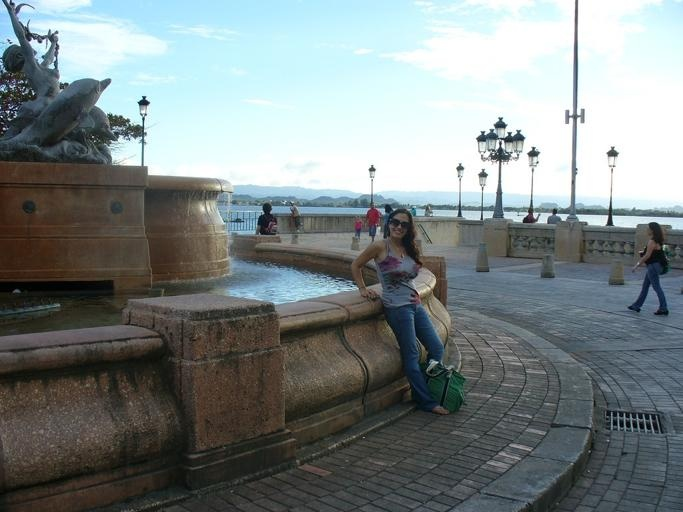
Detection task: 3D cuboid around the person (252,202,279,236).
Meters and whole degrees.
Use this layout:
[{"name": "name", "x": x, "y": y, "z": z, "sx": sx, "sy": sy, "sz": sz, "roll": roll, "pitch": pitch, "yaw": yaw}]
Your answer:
[{"name": "person", "x": -2.752, "y": -1.403, "z": 17.687, "sx": 0.941, "sy": 1.314, "sz": 1.016, "roll": -3, "pitch": -5, "yaw": 3}]

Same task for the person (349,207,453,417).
[{"name": "person", "x": 0.705, "y": 0.533, "z": 5.373, "sx": 1.135, "sy": 2.176, "sz": 0.510, "roll": 5, "pitch": 5, "yaw": 14}]

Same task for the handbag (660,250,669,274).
[{"name": "handbag", "x": 7.784, "y": 0.051, "z": 11.601, "sx": 0.138, "sy": 0.539, "sz": 0.372, "roll": 8, "pitch": 7, "yaw": 41}]

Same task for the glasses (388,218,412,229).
[{"name": "glasses", "x": 0.650, "y": -0.390, "z": 5.281, "sx": 0.229, "sy": 0.099, "sz": 0.087, "roll": 5, "pitch": 5, "yaw": 7}]

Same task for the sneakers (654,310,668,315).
[{"name": "sneakers", "x": 7.464, "y": 1.247, "z": 11.308, "sx": 0.326, "sy": 0.153, "sz": 0.118, "roll": 2, "pitch": 2, "yaw": 7}]

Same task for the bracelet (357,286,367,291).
[{"name": "bracelet", "x": 0.235, "y": 0.336, "z": 5.483, "sx": 0.095, "sy": 0.073, "sz": 0.096, "roll": 2, "pitch": 8, "yaw": 18}]

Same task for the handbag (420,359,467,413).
[{"name": "handbag", "x": 1.102, "y": 1.424, "z": 5.269, "sx": 0.480, "sy": 0.408, "sz": 0.219, "roll": 7, "pitch": 5, "yaw": 24}]
